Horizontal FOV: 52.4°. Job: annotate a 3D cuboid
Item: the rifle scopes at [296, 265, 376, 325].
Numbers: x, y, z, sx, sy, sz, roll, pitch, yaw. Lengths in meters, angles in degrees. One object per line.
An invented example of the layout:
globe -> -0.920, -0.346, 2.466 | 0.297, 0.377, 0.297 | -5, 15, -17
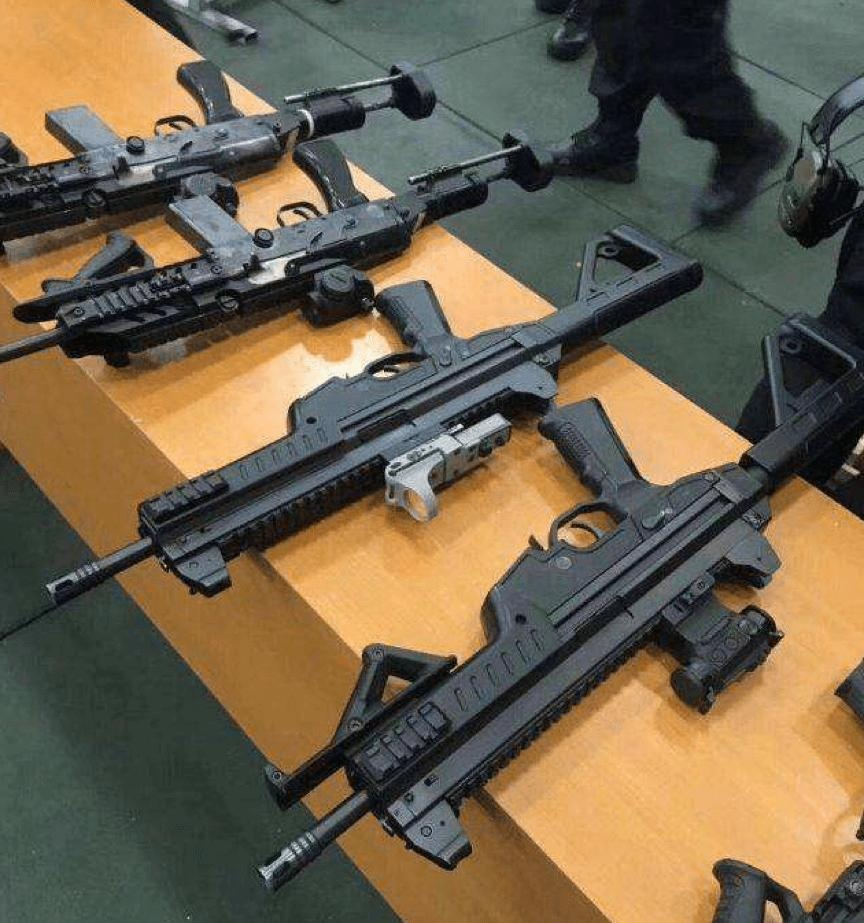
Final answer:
rifle scopes -> -0.362, -0.650, 3.506 | 0.231, 0.133, 0.293 | 26, 52, 25

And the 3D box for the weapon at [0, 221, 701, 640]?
weapon -> -0.063, -0.083, 3.402 | 3.043, 0.580, 1.059 | -26, 61, -19

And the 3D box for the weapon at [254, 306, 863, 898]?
weapon -> 0.547, 0.356, 2.571 | 2.180, 0.465, 0.934 | -27, 40, -19

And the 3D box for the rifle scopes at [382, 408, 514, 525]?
rifle scopes -> 0.096, 0.004, 2.964 | 0.499, 0.155, 0.219 | -32, 57, -28
